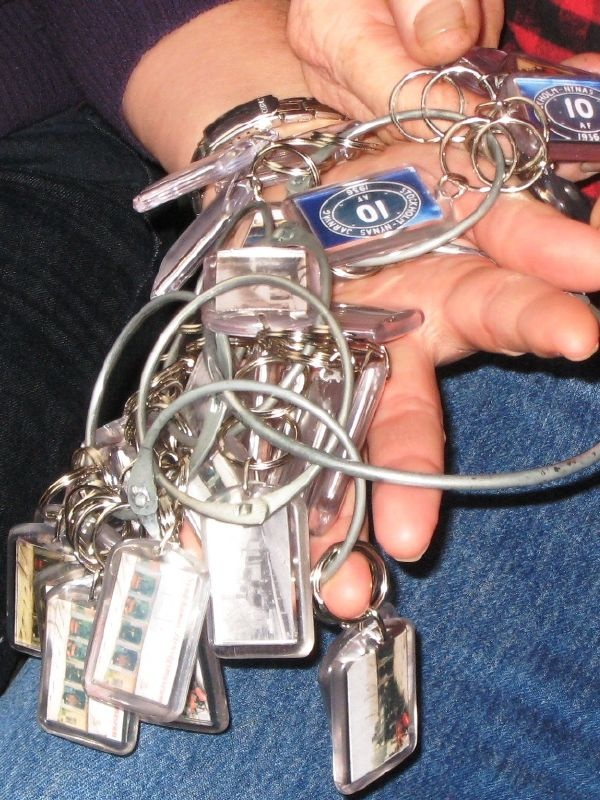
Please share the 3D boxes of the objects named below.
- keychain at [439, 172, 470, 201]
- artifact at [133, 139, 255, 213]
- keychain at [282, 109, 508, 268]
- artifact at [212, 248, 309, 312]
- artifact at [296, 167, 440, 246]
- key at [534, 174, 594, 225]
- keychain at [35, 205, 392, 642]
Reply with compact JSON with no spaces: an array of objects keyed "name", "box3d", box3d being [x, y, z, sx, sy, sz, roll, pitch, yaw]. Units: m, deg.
[{"name":"keychain","box3d":[0.124,-0.175,0.625,0.026,0.012,0.032,1,77,6]},{"name":"artifact","box3d":[-0.112,-0.207,0.733,0.105,0.024,0.029,-45,112,-34]},{"name":"keychain","box3d":[0.075,-0.140,0.597,0.183,0.030,0.139,-19,68,0]},{"name":"artifact","box3d":[-0.026,-0.080,0.497,0.061,0.034,0.047,-2,69,5]},{"name":"artifact","box3d":[0.053,-0.154,0.609,0.098,0.022,0.063,-16,51,-1]},{"name":"key","box3d":[0.206,-0.164,0.628,0.043,0.016,0.059,-9,58,-24]},{"name":"keychain","box3d":[-0.042,0.040,0.518,0.255,0.078,0.285,-3,78,21]}]
